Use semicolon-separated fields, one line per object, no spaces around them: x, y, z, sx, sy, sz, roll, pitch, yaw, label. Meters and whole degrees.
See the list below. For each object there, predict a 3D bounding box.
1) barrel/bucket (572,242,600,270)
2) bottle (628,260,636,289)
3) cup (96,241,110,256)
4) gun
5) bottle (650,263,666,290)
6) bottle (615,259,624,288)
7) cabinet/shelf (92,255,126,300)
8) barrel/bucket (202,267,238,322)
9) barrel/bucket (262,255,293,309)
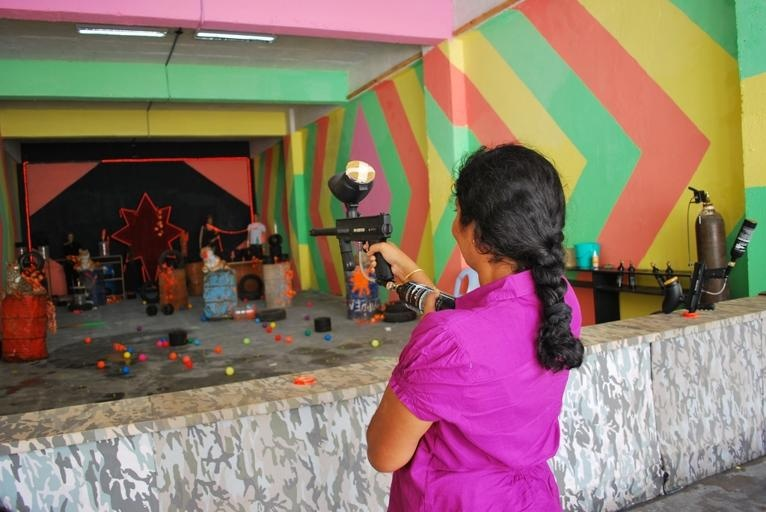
1.966;-0.003;5.865;0.237;0.273;0.237;0;-1;0;barrel/bucket
2.244;0.169;5.477;0.064;0.220;0.275;0;7;22;bottle
-6.018;-0.161;13.128;0.326;0.386;0.322;-1;4;0;cup
-0.190;-0.036;3.279;0.556;0.348;0.131;0;2;37;gun
2.277;0.164;5.038;0.053;0.229;0.078;-1;-23;4;bottle
2.183;0.163;5.589;0.060;0.231;0.301;0;7;21;bottle
-5.645;0.565;12.634;0.599;0.955;0.598;-3;2;-10;cabinet/shelf
-2.328;0.556;8.693;0.478;0.680;0.434;-5;6;-17;barrel/bucket
-1.606;0.457;9.418;0.432;0.698;0.398;-3;6;0;barrel/bucket
